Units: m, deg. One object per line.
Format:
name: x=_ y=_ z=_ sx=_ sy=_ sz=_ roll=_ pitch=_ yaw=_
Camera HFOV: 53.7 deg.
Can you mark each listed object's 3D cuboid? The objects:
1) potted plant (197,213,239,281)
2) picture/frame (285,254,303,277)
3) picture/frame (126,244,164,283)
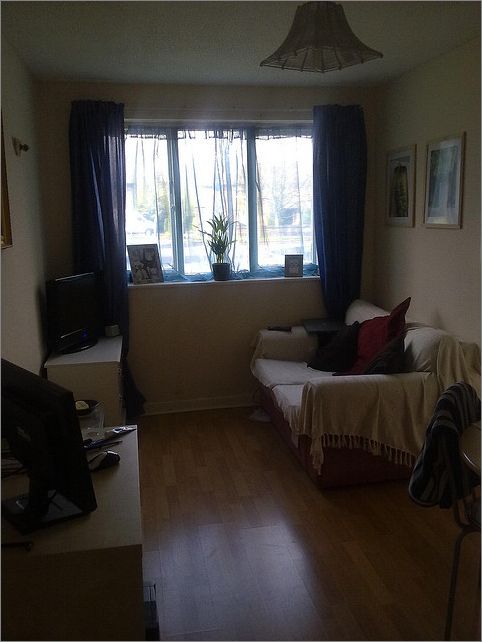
potted plant: x=-0.160 y=-0.629 z=4.199 sx=0.361 sy=0.858 sz=0.440 roll=-1 pitch=1 yaw=-5
picture/frame: x=0.466 y=-0.484 z=4.175 sx=0.166 sy=0.202 sz=0.129 roll=-1 pitch=5 yaw=6
picture/frame: x=-0.783 y=-0.473 z=3.931 sx=0.249 sy=0.414 sz=0.030 roll=-5 pitch=44 yaw=-8
